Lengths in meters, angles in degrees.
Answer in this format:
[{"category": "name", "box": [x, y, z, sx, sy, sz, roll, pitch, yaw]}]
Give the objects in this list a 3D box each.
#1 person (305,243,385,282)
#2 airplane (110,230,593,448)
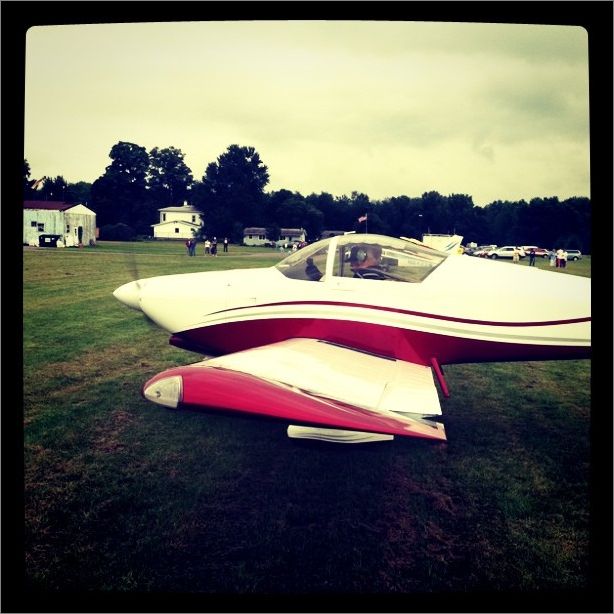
[{"category": "person", "box": [0.589, -0.475, 6.205, 0.805, 0.388, 0.371, 9, 11, 10]}, {"category": "airplane", "box": [0.682, 0.250, 5.869, 3.095, 1.181, 3.332, 5, 15, 6]}]
